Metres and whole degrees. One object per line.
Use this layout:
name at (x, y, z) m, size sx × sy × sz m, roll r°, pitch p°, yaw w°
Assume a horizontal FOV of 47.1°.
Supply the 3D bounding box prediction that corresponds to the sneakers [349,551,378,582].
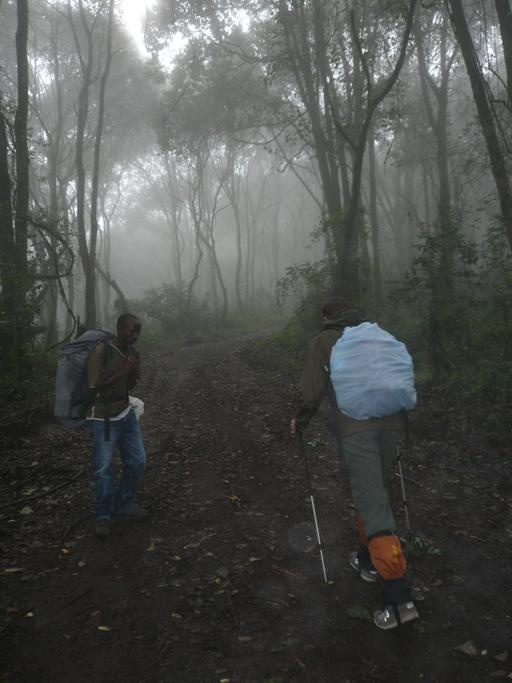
sneakers at (0.793, 1.676, 4.405) m, size 0.093 × 0.132 × 0.273 m, roll -6°, pitch 22°, yaw -18°

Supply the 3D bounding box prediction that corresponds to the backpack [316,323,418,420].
backpack at (0.799, 0.186, 4.130) m, size 0.573 × 0.300 × 0.813 m, roll -11°, pitch 43°, yaw -6°

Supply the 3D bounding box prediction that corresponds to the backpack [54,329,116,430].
backpack at (-1.529, 0.314, 5.154) m, size 0.525 × 0.842 × 0.460 m, roll -6°, pitch -16°, yaw 42°

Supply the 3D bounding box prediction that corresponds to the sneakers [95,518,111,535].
sneakers at (-1.283, 1.555, 4.928) m, size 0.111 × 0.127 × 0.117 m, roll 1°, pitch -1°, yaw -20°

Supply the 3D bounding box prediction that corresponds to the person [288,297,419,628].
person at (0.701, 0.803, 4.087) m, size 0.758 × 2.089 × 1.047 m, roll -2°, pitch 6°, yaw -15°
